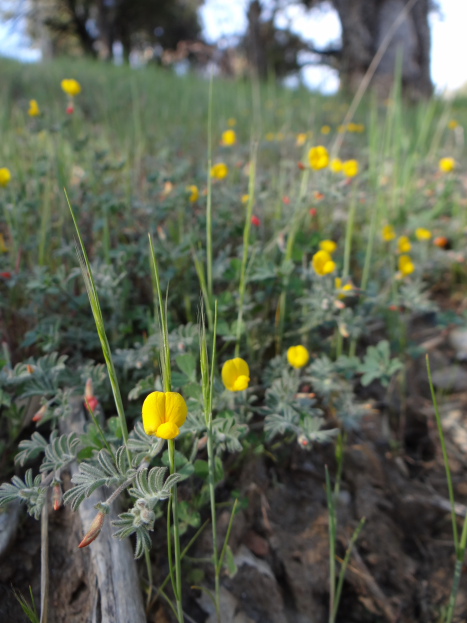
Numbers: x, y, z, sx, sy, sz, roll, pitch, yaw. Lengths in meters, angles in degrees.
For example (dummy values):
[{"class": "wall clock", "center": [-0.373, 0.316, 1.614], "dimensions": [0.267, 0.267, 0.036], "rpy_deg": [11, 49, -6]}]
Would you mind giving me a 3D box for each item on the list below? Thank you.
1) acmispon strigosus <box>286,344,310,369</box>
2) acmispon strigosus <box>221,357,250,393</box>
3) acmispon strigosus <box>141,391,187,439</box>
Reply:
[{"class": "acmispon strigosus", "center": [0.185, 0.140, 1.659], "dimensions": [0.056, 0.075, 0.056], "rpy_deg": [8, -19, -25]}, {"class": "acmispon strigosus", "center": [0.008, 0.167, 1.489], "dimensions": [0.070, 0.097, 0.057], "rpy_deg": [14, 30, 18]}, {"class": "acmispon strigosus", "center": [-0.156, 0.225, 1.285], "dimensions": [0.092, 0.109, 0.041], "rpy_deg": [-5, 0, -9]}]
